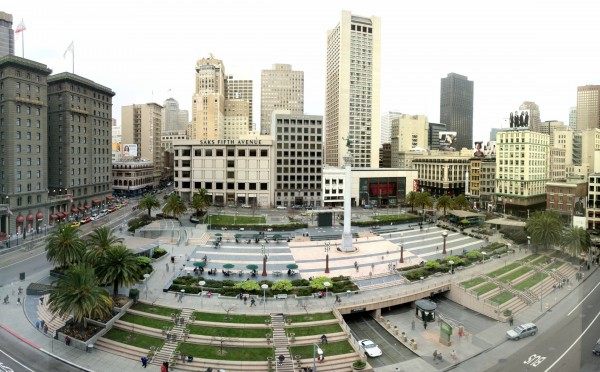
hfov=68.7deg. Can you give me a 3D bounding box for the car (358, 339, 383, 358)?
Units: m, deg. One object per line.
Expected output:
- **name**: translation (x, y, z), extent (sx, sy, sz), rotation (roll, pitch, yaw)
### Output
- **car**: translation (18.293, 42.279, 113.666), extent (5.593, 3.580, 3.167), rotation (-1, 6, 6)

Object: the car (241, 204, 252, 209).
- **car**: translation (-24.732, 9.491, 201.948), extent (3.350, 1.250, 2.187), rotation (-1, 9, -1)

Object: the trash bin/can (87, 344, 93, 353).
- **trash bin/can**: translation (-52.934, 40.894, 110.506), extent (1.620, 2.009, 0.689), rotation (0, 6, 13)

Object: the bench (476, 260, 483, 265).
- **bench**: translation (58.321, 24.926, 142.756), extent (2.486, 0.792, 1.176), rotation (-6, 7, -37)

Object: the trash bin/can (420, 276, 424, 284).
- **trash bin/can**: translation (36.953, 28.371, 132.588), extent (1.364, 1.489, 1.291), rotation (-5, -12, 38)

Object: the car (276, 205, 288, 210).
- **car**: translation (-8.635, 10.126, 203.528), extent (3.397, 1.086, 2.024), rotation (-3, 8, 2)

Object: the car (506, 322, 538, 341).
- **car**: translation (59.441, 39.368, 118.433), extent (8.771, 3.030, 3.635), rotation (-5, -1, -14)

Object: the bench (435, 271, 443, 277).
- **bench**: translation (42.552, 27.337, 135.071), extent (3.249, 0.916, 1.167), rotation (-4, 7, -28)

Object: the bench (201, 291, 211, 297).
- **bench**: translation (-26.275, 30.594, 123.999), extent (1.558, 0.735, 1.890), rotation (3, 0, 7)
